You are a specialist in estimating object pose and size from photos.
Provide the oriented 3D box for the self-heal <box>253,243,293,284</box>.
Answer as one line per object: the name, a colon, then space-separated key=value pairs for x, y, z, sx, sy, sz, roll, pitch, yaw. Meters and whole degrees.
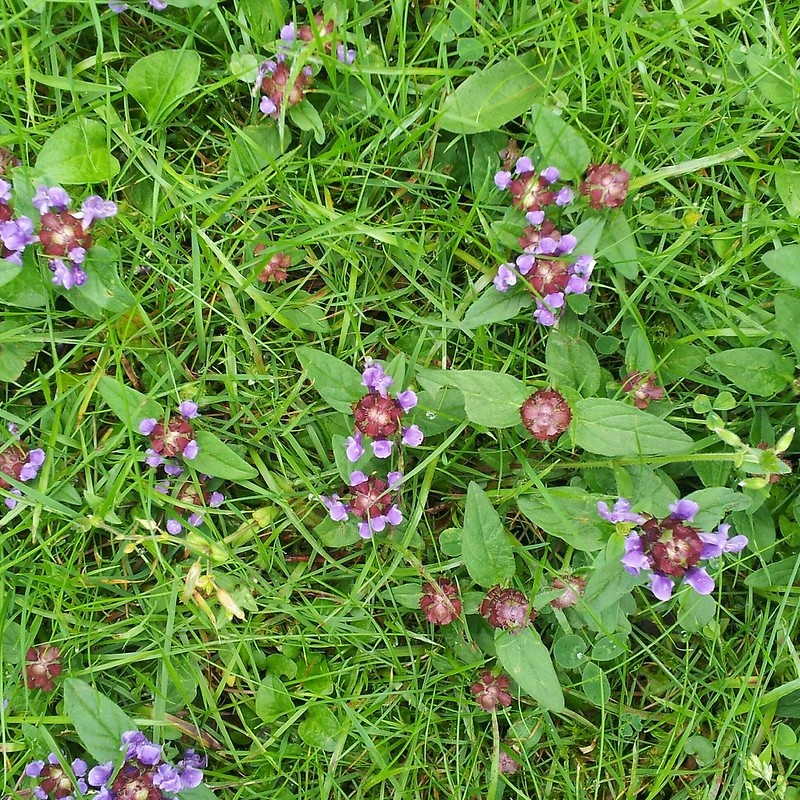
self-heal: x=-0.565 y=-0.583 z=3.688 sx=0.174 sy=0.083 sz=0.161 roll=5 pitch=79 yaw=2

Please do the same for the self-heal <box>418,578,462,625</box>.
self-heal: x=0.170 y=0.848 z=3.519 sx=0.205 sy=0.083 sz=0.189 roll=3 pitch=65 yaw=-6

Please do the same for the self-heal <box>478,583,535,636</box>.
self-heal: x=0.441 y=0.850 z=3.425 sx=0.177 sy=0.187 sz=0.199 roll=-41 pitch=80 yaw=-11

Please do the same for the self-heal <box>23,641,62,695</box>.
self-heal: x=-1.512 y=1.126 z=3.518 sx=0.183 sy=0.076 sz=0.185 roll=0 pitch=76 yaw=-7

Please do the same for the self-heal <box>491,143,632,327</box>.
self-heal: x=0.599 y=-0.676 z=3.535 sx=0.544 sy=0.408 sz=0.733 roll=19 pitch=75 yaw=3

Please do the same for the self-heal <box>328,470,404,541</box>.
self-heal: x=-0.138 y=0.425 z=3.424 sx=0.308 sy=0.144 sz=0.295 roll=20 pitch=81 yaw=7

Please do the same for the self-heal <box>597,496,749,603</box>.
self-heal: x=1.009 y=0.546 z=3.141 sx=0.493 sy=0.234 sz=0.431 roll=22 pitch=84 yaw=14

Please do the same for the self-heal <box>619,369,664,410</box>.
self-heal: x=1.022 y=-0.045 z=3.532 sx=0.194 sy=0.085 sz=0.153 roll=3 pitch=102 yaw=-3

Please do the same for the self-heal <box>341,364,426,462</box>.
self-heal: x=-0.080 y=0.056 z=3.385 sx=0.404 sy=0.153 sz=0.357 roll=-24 pitch=71 yaw=2

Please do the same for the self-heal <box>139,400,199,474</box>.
self-heal: x=-0.960 y=0.142 z=3.583 sx=0.275 sy=0.293 sz=0.302 roll=-11 pitch=119 yaw=-16

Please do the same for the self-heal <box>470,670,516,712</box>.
self-heal: x=0.398 y=1.253 z=3.620 sx=0.167 sy=0.090 sz=0.164 roll=31 pitch=76 yaw=6

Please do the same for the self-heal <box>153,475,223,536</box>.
self-heal: x=-0.910 y=0.457 z=3.625 sx=0.279 sy=0.194 sz=0.244 roll=-7 pitch=75 yaw=-4
